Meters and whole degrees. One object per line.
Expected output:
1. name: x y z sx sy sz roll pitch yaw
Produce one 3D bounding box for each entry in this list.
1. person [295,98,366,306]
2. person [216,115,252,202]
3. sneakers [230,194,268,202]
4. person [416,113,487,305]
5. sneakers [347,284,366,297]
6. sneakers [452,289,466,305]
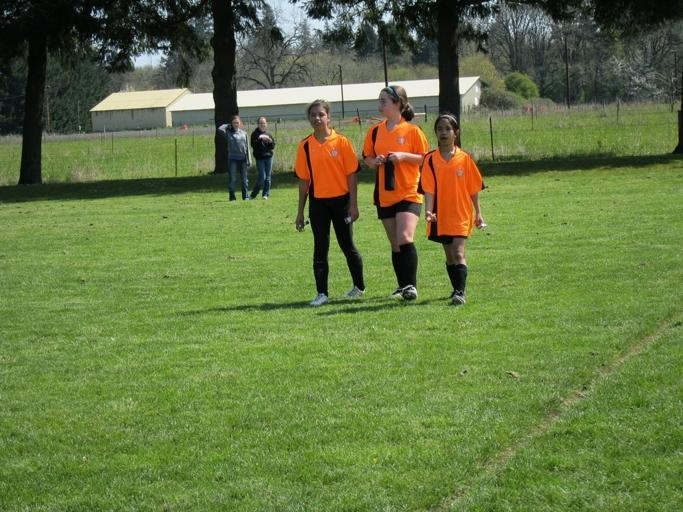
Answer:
1. person: -0.188 -0.790 15.600 0.963 2.842 0.851 -2 7 -2
2. person: -2.431 -2.202 24.960 0.638 1.915 1.103 -2 7 -5
3. sneakers: -2.163 -1.347 25.450 0.474 0.109 0.163 -1 47 -21
4. person: 1.538 -0.478 15.228 0.874 2.216 0.529 -1 7 6
5. sneakers: 0.193 0.503 15.802 0.106 0.138 0.288 3 7 24
6. sneakers: 1.621 0.570 15.176 0.141 0.165 0.325 1 -4 4
